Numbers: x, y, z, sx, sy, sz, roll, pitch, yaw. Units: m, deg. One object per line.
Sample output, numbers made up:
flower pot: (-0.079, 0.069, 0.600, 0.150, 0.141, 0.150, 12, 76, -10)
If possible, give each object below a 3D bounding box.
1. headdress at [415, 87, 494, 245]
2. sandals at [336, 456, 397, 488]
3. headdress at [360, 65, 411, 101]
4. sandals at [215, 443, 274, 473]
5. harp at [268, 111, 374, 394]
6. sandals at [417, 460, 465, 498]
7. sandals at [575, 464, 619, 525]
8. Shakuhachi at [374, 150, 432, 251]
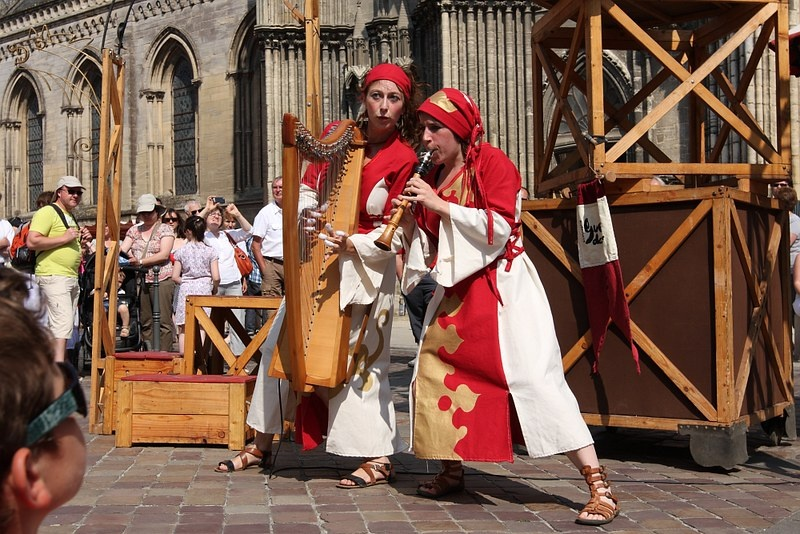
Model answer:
headdress: (0.434, -0.791, 9.690, 0.449, 1.315, 0.541, 0, 0, -9)
sandals: (-0.264, 1.669, 9.995, 0.441, 0.156, 0.202, 2, -5, -32)
headdress: (-0.067, -1.517, 10.049, 0.467, 0.291, 0.440, -2, 4, 11)
sandals: (-1.306, 1.599, 10.302, 0.470, 0.165, 0.186, 2, -2, -19)
harp: (-0.601, -0.049, 9.521, 0.660, 2.178, 1.040, 10, 12, 25)
sandals: (0.331, 1.651, 9.815, 0.436, 0.272, 0.183, -8, 5, -31)
sandals: (1.512, 1.706, 9.302, 0.309, 0.399, 0.299, 3, 11, 10)
Shakuhachi: (0.093, -0.508, 9.513, 0.168, 0.845, 0.173, 32, 7, 9)
